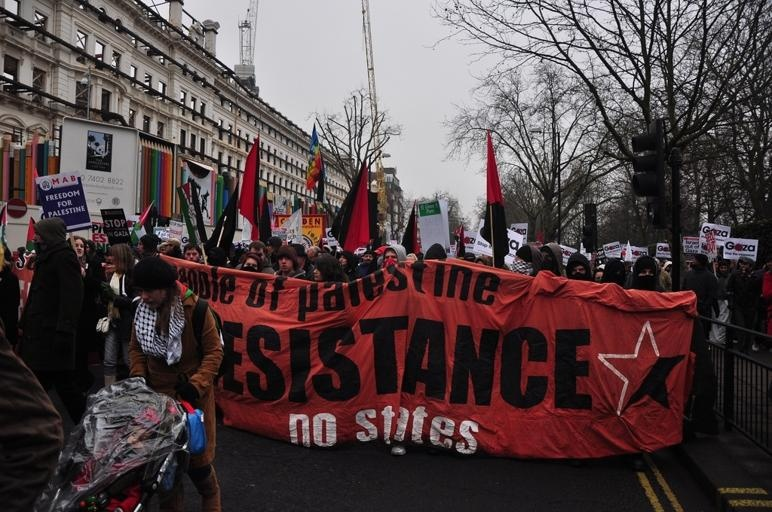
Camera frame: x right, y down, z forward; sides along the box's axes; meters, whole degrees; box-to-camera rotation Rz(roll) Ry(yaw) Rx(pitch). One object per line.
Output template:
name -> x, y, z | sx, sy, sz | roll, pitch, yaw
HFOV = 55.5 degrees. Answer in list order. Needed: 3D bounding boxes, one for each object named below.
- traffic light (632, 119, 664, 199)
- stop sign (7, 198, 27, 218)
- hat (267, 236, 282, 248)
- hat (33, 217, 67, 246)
traffic light -> 4.703, -1.720, 13.150 | 0.536, 1.367, 0.500 | 1, 2, 19
stop sign -> -8.670, -1.098, 17.245 | 0.276, 0.461, 0.483 | 2, 3, 31
hat -> -2.490, -0.303, 16.722 | 0.238, 0.291, 0.337 | 9, 2, 42
hat -> -5.137, -0.354, 11.275 | 0.431, 0.428, 0.213 | -1, 3, -29
